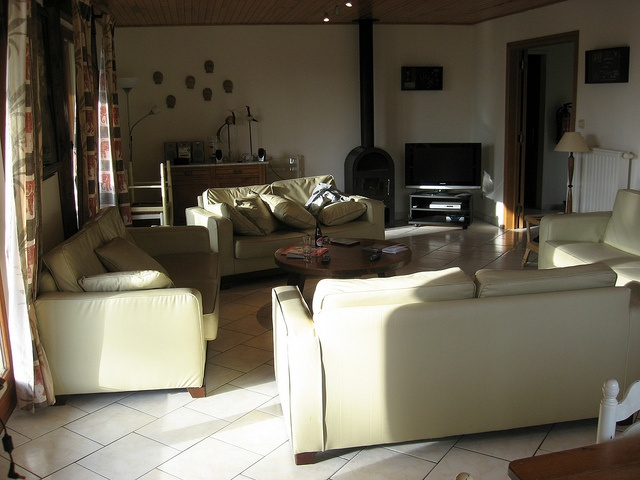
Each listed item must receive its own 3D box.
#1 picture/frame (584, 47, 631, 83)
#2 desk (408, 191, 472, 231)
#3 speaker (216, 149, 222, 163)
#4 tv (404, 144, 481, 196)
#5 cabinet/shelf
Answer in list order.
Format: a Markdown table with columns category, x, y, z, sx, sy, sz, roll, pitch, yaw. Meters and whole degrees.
| category | x | y | z | sx | sy | sz | roll | pitch | yaw |
| --- | --- | --- | --- | --- | --- | --- | --- | --- | --- |
| picture/frame | 3.315 | -2.025 | 5.489 | 0.045 | 0.384 | 0.545 | -5 | 11 | -20 |
| desk | 1.948 | -0.494 | 7.774 | 0.987 | 0.565 | 0.494 | 0 | 12 | 12 |
| speaker | -1.583 | -1.309 | 7.479 | 0.103 | 0.196 | 0.052 | 1 | 14 | 3 |
| tv | 1.979 | -1.202 | 7.746 | 1.120 | 0.733 | 0.198 | 2 | 12 | 23 |
| cabinet/shelf | -1.435 | -0.594 | 6.251 | 1.004 | 0.986 | 0.346 | -4 | 11 | -15 |
